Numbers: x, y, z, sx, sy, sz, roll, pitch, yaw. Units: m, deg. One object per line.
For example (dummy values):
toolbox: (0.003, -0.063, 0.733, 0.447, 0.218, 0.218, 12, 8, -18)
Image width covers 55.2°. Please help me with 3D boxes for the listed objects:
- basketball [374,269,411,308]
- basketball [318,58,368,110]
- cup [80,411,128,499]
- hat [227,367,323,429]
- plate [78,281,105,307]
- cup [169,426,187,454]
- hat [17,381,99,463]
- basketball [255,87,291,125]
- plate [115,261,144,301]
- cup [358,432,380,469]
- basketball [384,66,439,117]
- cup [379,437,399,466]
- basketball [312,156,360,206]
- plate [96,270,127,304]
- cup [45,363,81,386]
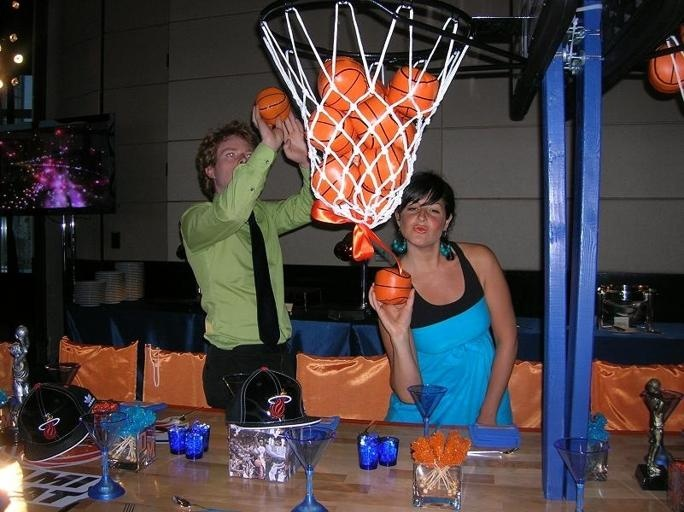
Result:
basketball: (0.200, 0.123, 2.590, 0.142, 0.156, 0.150, 7, 4, 27)
basketball: (0.007, -0.618, 2.289, 0.163, 0.220, 0.184, 1, -3, -14)
cup: (-0.815, 0.693, 2.260, 0.136, 0.298, 0.083, 1, -2, -20)
hat: (-0.270, 0.532, 2.430, 0.295, 0.191, 0.461, 1, -1, -22)
plate: (-1.878, 0.289, 4.899, 0.169, 0.167, 0.177, 1, -8, -4)
cup: (-0.622, 0.705, 2.487, 0.083, 0.104, 0.087, 2, 4, 0)
hat: (-1.132, 0.601, 2.524, 0.262, 0.205, 0.337, -22, 26, -22)
basketball: (-0.302, -0.666, 2.939, 0.160, 0.212, 0.172, 0, 25, 8)
plate: (-1.648, 0.205, 5.243, 0.244, 0.304, 0.256, 2, -2, -7)
cup: (0.097, 0.747, 2.417, 0.071, 0.115, 0.076, -5, -18, -2)
basketball: (0.245, -0.581, 2.297, 0.191, 0.190, 0.133, 0, -2, 6)
cup: (0.176, 0.721, 2.425, 0.081, 0.096, 0.087, 0, 3, 0)
basketball: (-0.037, -0.273, 2.306, 0.179, 0.176, 0.187, 0, -3, 16)
plate: (-1.741, 0.244, 4.992, 0.212, 0.265, 0.219, 1, 4, -16)
cup: (-1.154, 0.483, 2.729, 0.107, 0.077, 0.104, 0, -6, 0)
